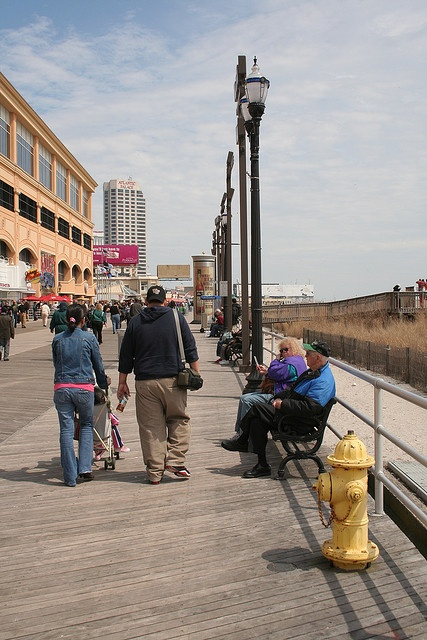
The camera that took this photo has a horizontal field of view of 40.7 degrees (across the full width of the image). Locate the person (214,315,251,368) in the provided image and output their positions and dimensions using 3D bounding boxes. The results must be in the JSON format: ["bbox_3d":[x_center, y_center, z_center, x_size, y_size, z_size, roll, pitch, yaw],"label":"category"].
[{"bbox_3d":[0.482,0.749,18.085,1.311,1.414,1.139,-2,-2,-1],"label":"person"}]

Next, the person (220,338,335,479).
[{"bbox_3d":[0.645,0.689,5.729,1.259,1.644,0.826,4,10,2],"label":"person"}]

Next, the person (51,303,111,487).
[{"bbox_3d":[-1.303,0.693,5.523,0.361,1.684,0.595,-3,-1,31],"label":"person"}]

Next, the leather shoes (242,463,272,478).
[{"bbox_3d":[0.417,1.432,5.426,0.277,0.136,0.106,0,-1,-10],"label":"leather shoes"}]

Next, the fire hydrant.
[{"bbox_3d":[0.739,1.010,3.266,0.342,0.617,0.198,-2,-1,15],"label":"fire hydrant"}]

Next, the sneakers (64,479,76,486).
[{"bbox_3d":[-1.298,1.495,5.236,0.047,0.060,0.141,1,-9,-8],"label":"sneakers"}]

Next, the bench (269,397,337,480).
[{"bbox_3d":[0.930,1.211,5.781,0.578,0.787,1.275,-1,-12,12],"label":"bench"}]

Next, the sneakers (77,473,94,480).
[{"bbox_3d":[-1.199,1.488,5.437,0.145,0.087,0.144,-2,-1,-14],"label":"sneakers"}]

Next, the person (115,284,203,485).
[{"bbox_3d":[-0.487,0.601,5.281,0.746,1.811,0.453,-2,-1,-11],"label":"person"}]

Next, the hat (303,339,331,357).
[{"bbox_3d":[0.878,0.248,4.900,0.201,0.087,0.131,15,9,21],"label":"hat"}]
